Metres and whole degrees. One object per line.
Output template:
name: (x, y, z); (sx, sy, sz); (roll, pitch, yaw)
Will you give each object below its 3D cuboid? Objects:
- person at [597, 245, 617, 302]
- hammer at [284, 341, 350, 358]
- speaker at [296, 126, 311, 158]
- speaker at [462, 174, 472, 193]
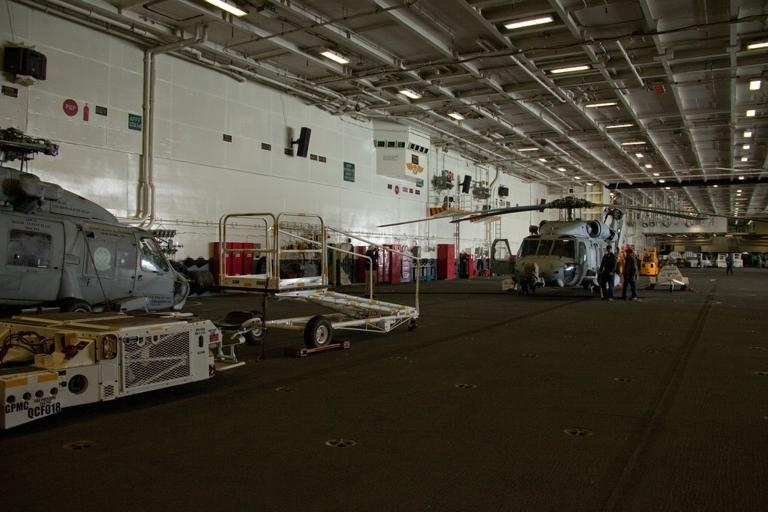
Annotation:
person: (7.713, 0.561, 17.875); (0.474, 1.810, 1.194); (1, 4, 21)
hammer: (-1.229, 1.717, 9.594); (0.391, 0.086, 0.911); (0, 0, 41)
speaker: (-3.495, -4.926, 22.492); (0.508, 1.237, 0.612); (3, 5, 39)
speaker: (5.363, -4.768, 33.920); (0.459, 1.141, 1.275); (2, -6, 27)
